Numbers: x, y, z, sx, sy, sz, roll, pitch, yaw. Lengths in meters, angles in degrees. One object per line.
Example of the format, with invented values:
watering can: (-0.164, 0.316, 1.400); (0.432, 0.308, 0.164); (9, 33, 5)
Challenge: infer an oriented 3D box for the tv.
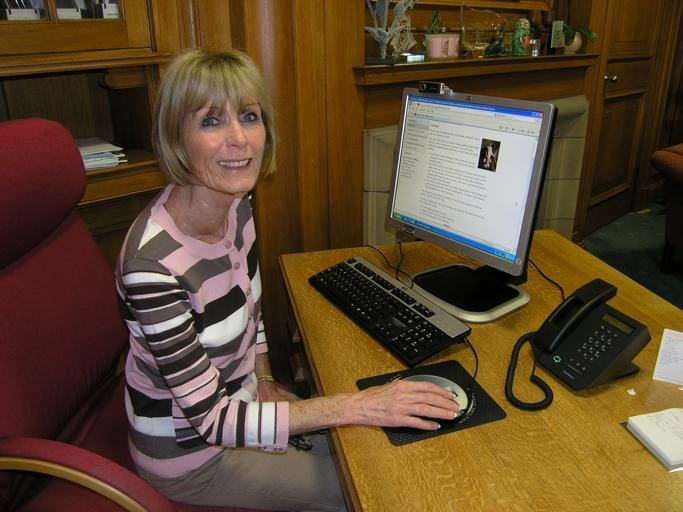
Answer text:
tv: (0.429, -0.209, 1.522); (0.353, 0.640, 0.593); (-20, 28, -28)

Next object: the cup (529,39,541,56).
cup: (1.168, -1.261, 2.879); (0.061, 0.083, 0.144); (7, 28, 16)

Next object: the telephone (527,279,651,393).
telephone: (0.616, 0.192, 1.189); (0.223, 0.138, 0.239); (-14, 23, 4)
